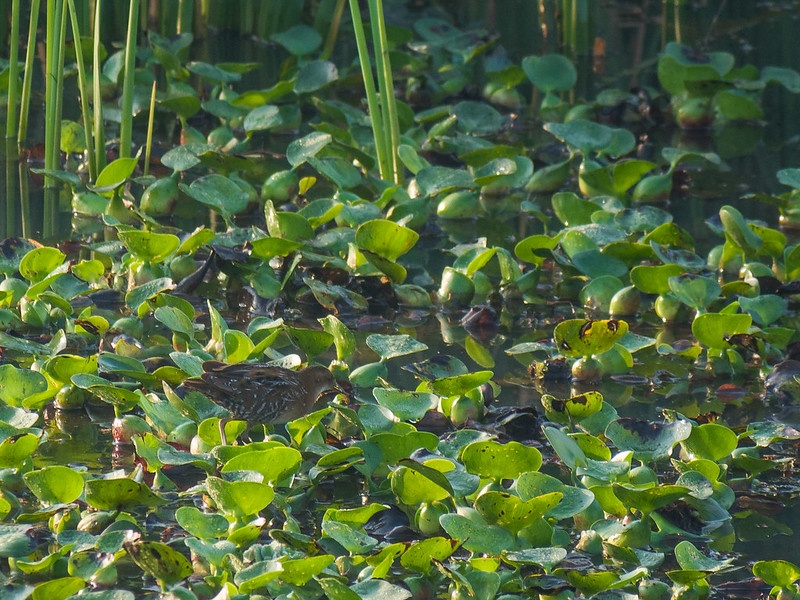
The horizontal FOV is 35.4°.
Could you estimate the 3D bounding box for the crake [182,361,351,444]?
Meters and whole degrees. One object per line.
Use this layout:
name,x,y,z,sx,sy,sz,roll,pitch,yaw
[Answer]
crake,-0.286,0.192,2.594,0.334,0.163,0.112,12,14,-10
